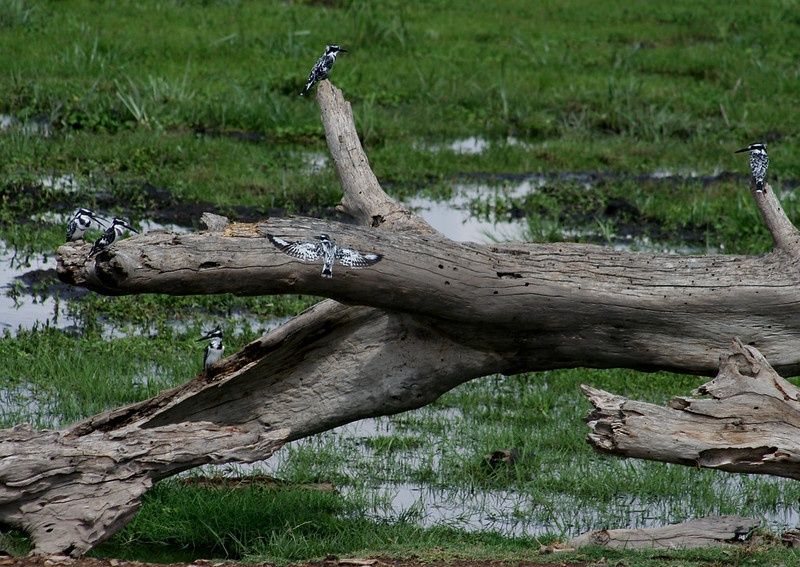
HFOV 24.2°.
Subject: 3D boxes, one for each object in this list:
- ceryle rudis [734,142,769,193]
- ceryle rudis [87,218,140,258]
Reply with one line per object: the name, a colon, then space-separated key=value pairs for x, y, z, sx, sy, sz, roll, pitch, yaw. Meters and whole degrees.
ceryle rudis: x=4.223 y=-1.396 z=22.036 sx=0.405 sy=0.262 sz=0.779 roll=-3 pitch=49 yaw=10
ceryle rudis: x=-3.260 y=-0.530 z=20.753 sx=0.688 sy=0.303 sz=0.219 roll=-18 pitch=8 yaw=11
